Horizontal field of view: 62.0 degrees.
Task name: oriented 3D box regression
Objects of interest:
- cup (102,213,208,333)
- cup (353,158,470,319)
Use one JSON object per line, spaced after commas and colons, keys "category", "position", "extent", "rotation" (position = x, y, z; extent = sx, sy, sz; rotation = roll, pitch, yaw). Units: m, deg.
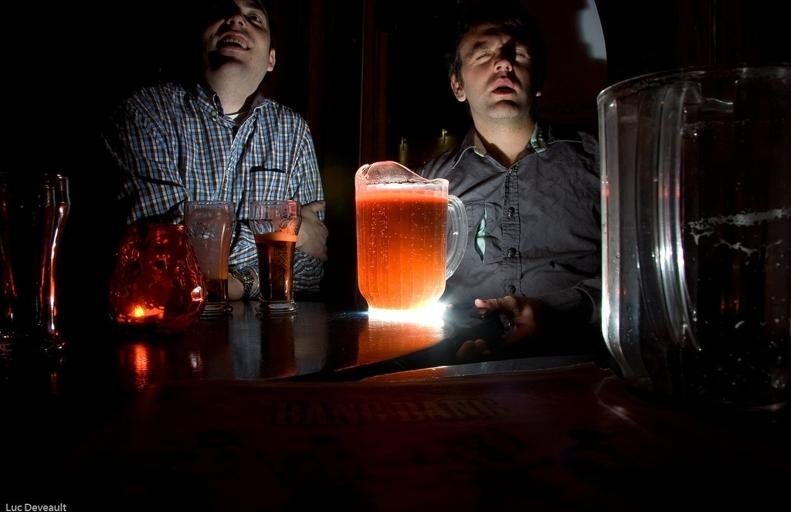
{"category": "cup", "position": [-0.330, 0.031, 0.981], "extent": [0.151, 0.151, 0.149], "rotation": [0, 0, 0]}
{"category": "cup", "position": [0.015, -0.035, 1.190], "extent": [0.172, 0.273, 0.152], "rotation": [0, 5, -4]}
